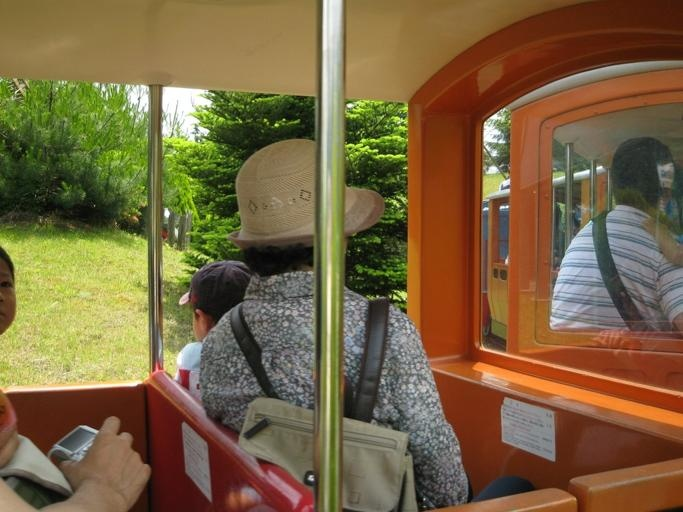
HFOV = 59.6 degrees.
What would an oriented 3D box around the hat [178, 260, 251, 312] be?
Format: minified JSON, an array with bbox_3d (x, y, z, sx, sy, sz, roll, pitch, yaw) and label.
[{"bbox_3d":[-0.671,0.151,3.153,0.315,0.202,0.255,3,13,6],"label":"hat"}]
